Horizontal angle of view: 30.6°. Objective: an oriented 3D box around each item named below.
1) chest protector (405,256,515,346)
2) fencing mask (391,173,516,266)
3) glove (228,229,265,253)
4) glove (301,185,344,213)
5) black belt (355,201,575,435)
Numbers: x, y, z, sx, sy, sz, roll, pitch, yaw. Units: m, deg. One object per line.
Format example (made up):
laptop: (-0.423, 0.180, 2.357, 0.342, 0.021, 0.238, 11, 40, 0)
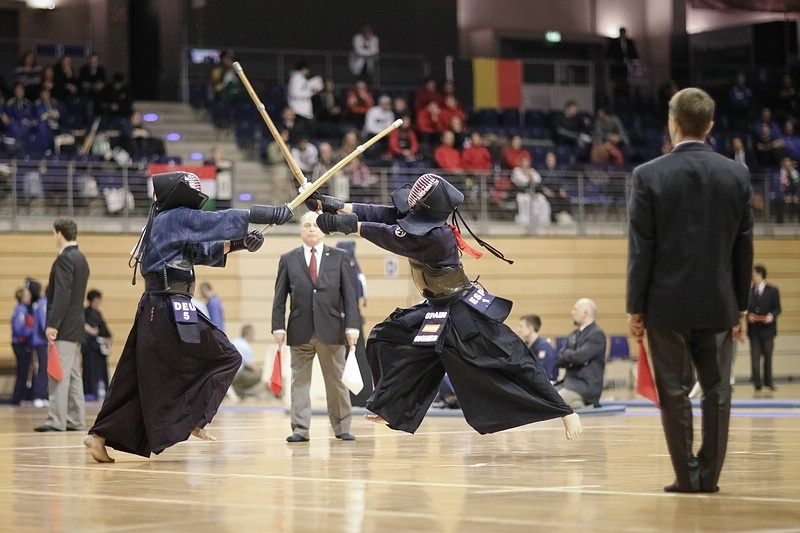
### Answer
chest protector: (0.656, 0.337, 18.077, 1.372, 1.185, 1.261, 9, 20, 39)
fencing mask: (0.397, -0.757, 17.708, 0.795, 0.730, 0.306, -2, 2, -5)
glove: (-1.829, -0.305, 17.693, 0.439, 0.195, 0.204, -10, 6, 35)
glove: (-0.874, -0.816, 17.815, 0.357, 0.117, 0.327, 10, -9, 2)
black belt: (1.017, 0.826, 19.704, 4.743, 3.087, 2.028, 1, -2, 2)
